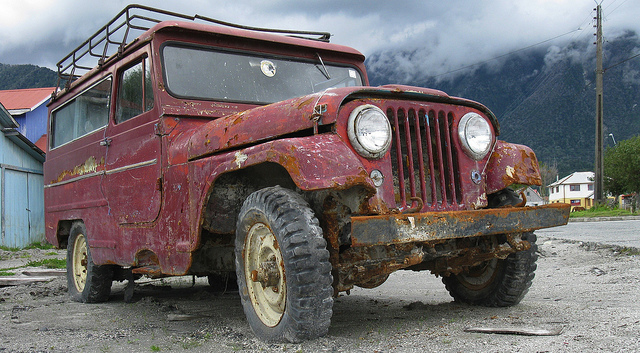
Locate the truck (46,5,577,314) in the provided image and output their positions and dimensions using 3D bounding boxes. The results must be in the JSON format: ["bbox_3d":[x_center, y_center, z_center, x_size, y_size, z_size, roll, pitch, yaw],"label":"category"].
[{"bbox_3d":[-0.686,-0.450,8.989,4.759,4.205,8.407,4,-8,-41],"label":"truck"}]
